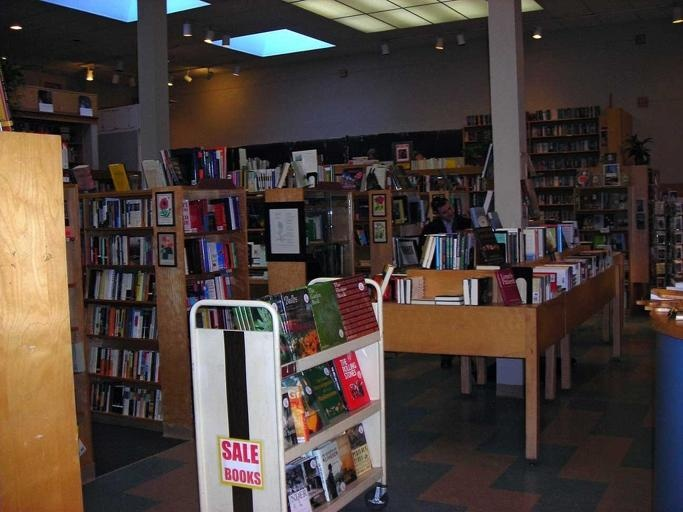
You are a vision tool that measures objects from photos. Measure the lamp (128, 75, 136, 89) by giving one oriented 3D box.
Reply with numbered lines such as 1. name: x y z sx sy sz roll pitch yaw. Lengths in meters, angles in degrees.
1. lamp: -5.814 -4.880 16.384 0.199 0.289 0.891 -4 6 -19

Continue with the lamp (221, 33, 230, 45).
1. lamp: -2.552 -4.808 13.033 0.158 0.277 0.357 -4 6 -12
